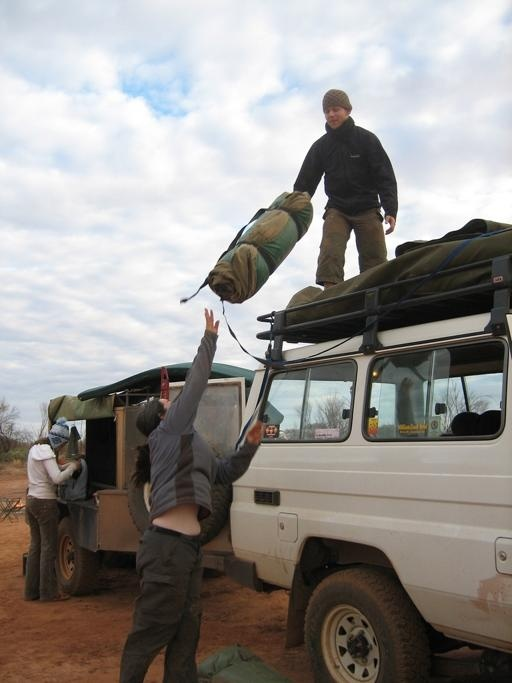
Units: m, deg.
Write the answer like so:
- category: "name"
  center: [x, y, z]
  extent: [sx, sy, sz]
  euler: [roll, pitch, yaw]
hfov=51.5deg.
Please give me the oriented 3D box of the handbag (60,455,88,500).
- category: "handbag"
  center: [-2.372, 1.796, 6.923]
  extent: [0.317, 0.512, 0.356]
  euler: [-1, -3, -37]

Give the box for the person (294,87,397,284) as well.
- category: "person"
  center: [0.821, -1.391, 5.066]
  extent: [0.892, 1.673, 0.936]
  euler: [-2, -14, 1]

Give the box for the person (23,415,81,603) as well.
- category: "person"
  center: [-2.624, 2.092, 6.749]
  extent: [0.586, 2.253, 0.834]
  euler: [5, -16, -24]
